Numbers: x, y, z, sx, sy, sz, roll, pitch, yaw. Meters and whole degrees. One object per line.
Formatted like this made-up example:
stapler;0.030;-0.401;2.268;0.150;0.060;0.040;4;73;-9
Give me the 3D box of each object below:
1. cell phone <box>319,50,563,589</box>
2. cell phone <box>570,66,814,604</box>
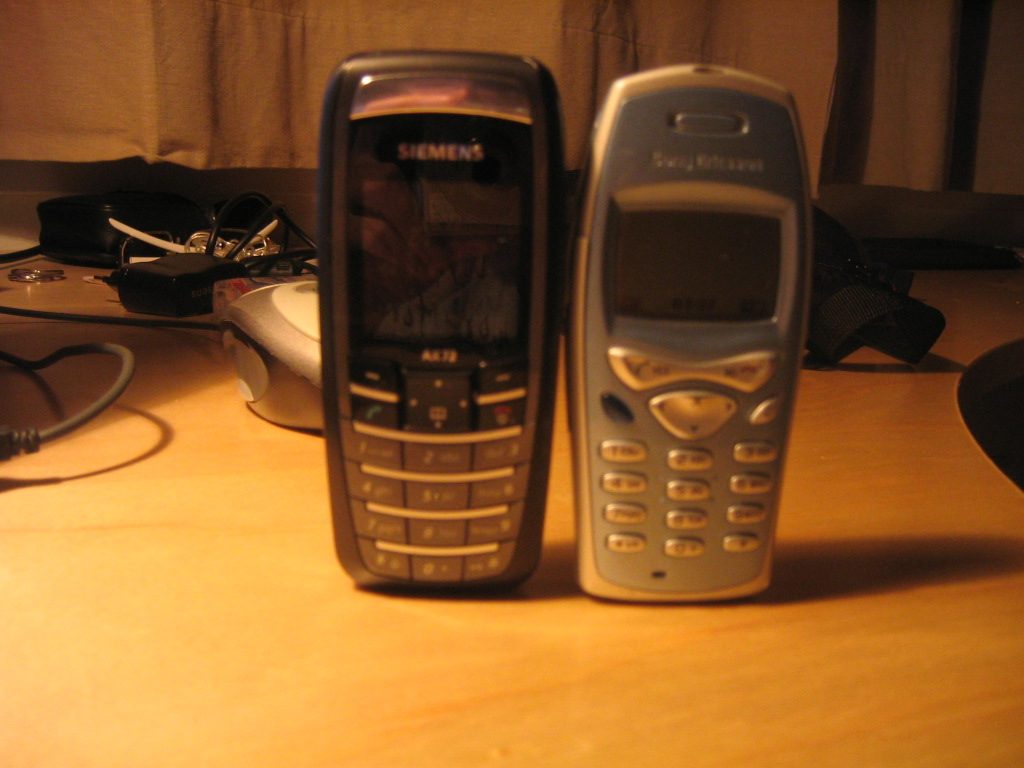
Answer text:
cell phone;-0.037;-0.031;0.488;0.121;0.258;0.082;1;20;0
cell phone;0.090;-0.023;0.489;0.120;0.255;0.092;2;20;4
